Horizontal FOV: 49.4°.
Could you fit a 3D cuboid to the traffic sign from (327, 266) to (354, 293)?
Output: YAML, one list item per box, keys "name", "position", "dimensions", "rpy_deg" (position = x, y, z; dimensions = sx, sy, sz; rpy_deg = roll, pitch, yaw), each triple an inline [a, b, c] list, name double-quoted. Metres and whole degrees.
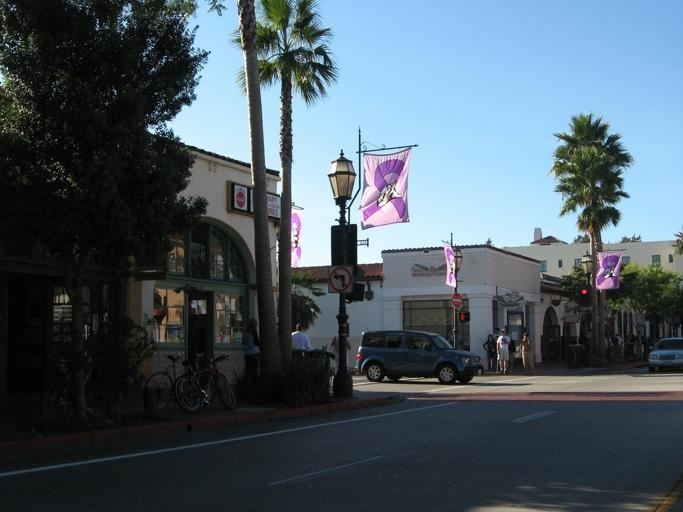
- name: "traffic sign"
  position: [-0.014, 0.635, 20.757]
  dimensions: [0.608, 0.874, 0.104]
  rpy_deg: [0, -5, 2]

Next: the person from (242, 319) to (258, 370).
- name: "person"
  position: [-2.569, 2.499, 20.863]
  dimensions: [0.423, 1.554, 0.832]
  rpy_deg: [1, -6, -8]

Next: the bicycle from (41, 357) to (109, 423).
- name: "bicycle"
  position: [-5.631, 2.712, 15.254]
  dimensions: [0.821, 1.180, 1.813]
  rpy_deg: [0, -7, 1]

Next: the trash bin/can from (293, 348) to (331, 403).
- name: "trash bin/can"
  position: [-0.869, 3.125, 19.733]
  dimensions: [1.280, 1.523, 1.006]
  rpy_deg: [6, -12, -45]

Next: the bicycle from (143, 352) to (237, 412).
- name: "bicycle"
  position: [-3.765, 3.077, 18.117]
  dimensions: [2.228, 1.572, 1.149]
  rpy_deg: [2, -10, -34]

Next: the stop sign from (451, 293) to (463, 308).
- name: "stop sign"
  position: [5.860, 2.215, 37.631]
  dimensions: [0.764, 1.149, 0.107]
  rpy_deg: [1, -9, -18]

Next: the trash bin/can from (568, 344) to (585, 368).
- name: "trash bin/can"
  position: [13.089, 5.445, 41.073]
  dimensions: [0.580, 1.168, 1.543]
  rpy_deg: [-6, -9, 44]

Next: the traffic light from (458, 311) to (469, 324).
- name: "traffic light"
  position: [6.143, 2.993, 37.108]
  dimensions: [0.590, 0.718, 0.612]
  rpy_deg: [1, -5, -25]

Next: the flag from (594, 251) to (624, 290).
- name: "flag"
  position: [15.543, 0.742, 43.033]
  dimensions: [1.316, 2.232, 1.575]
  rpy_deg: [-4, -8, 35]

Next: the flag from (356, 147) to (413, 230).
- name: "flag"
  position: [1.674, -2.558, 28.559]
  dimensions: [2.055, 2.700, 1.393]
  rpy_deg: [-2, -6, 18]
